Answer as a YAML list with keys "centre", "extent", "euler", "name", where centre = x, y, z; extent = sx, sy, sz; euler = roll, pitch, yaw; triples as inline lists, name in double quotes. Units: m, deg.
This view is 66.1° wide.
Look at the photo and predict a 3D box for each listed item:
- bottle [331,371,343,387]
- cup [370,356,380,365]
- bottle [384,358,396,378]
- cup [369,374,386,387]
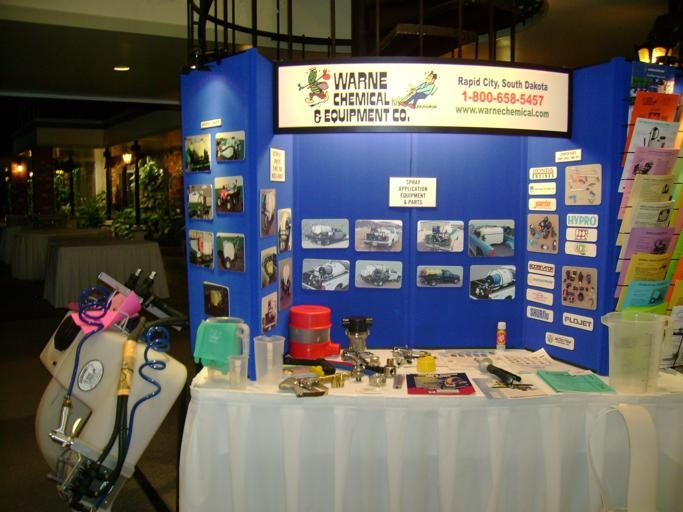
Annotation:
- centre: [-0.019, 0.622, 2.648]
  extent: [0.059, 0.058, 0.051]
  euler: [-1, 2, -8]
  name: "bottle"
- centre: [0.186, 0.568, 2.867]
  extent: [0.042, 0.032, 0.041]
  euler: [3, -3, 0]
  name: "cup"
- centre: [0.250, 0.602, 2.791]
  extent: [0.071, 0.078, 0.077]
  euler: [0, -5, -1]
  name: "bottle"
- centre: [0.188, 0.621, 2.646]
  extent: [0.061, 0.041, 0.061]
  euler: [0, -2, 0]
  name: "cup"
